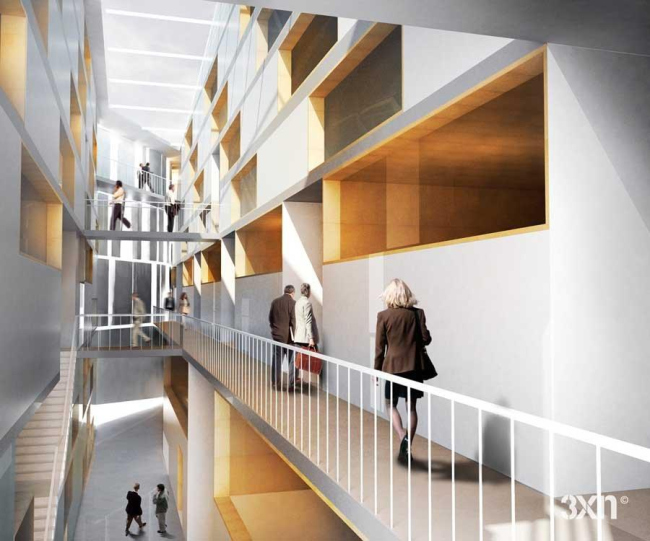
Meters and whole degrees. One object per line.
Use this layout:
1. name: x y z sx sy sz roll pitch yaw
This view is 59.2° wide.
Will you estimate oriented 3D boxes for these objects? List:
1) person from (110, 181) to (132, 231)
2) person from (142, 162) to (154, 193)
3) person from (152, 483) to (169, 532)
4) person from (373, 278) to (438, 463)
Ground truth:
1. person: -5.956 -1.866 16.673 0.534 1.014 0.845 5 -3 -41
2. person: -9.131 -4.899 29.655 0.634 1.700 2.019 3 -2 -17
3. person: -4.162 5.918 14.502 0.381 1.319 1.098 3 -2 -15
4. person: 0.698 0.892 5.061 0.542 1.637 0.886 2 -3 18
